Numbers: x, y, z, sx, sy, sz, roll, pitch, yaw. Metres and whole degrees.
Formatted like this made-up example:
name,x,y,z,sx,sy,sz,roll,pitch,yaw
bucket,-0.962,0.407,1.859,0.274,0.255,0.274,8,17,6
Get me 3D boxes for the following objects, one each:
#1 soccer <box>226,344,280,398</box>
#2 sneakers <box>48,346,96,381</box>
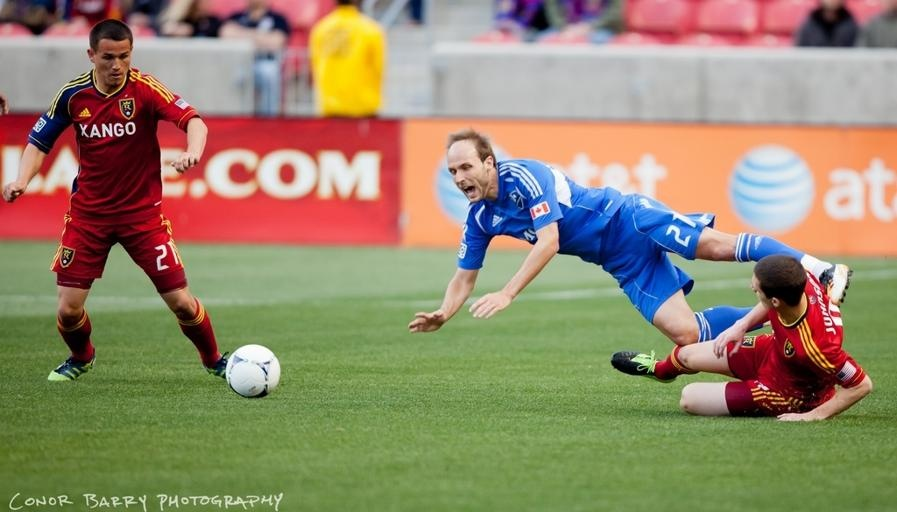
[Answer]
name,x,y,z,sx,sy,sz,roll,pitch,yaw
soccer,-1.645,1.121,9.619,0.471,0.425,0.451,11,-19,-35
sneakers,-3.401,1.034,9.914,0.485,0.201,0.173,-20,44,-29
